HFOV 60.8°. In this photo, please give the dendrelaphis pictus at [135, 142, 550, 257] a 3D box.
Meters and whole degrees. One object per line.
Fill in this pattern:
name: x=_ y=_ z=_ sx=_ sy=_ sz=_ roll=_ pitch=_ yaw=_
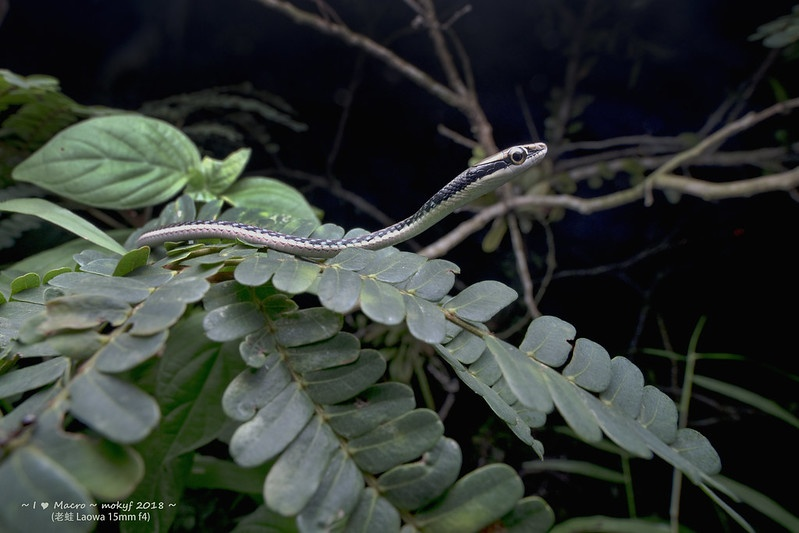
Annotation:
dendrelaphis pictus: x=-0.298 y=-0.316 z=2.985 sx=2.008 sy=0.246 sz=0.289 roll=-9 pitch=1 yaw=-20
